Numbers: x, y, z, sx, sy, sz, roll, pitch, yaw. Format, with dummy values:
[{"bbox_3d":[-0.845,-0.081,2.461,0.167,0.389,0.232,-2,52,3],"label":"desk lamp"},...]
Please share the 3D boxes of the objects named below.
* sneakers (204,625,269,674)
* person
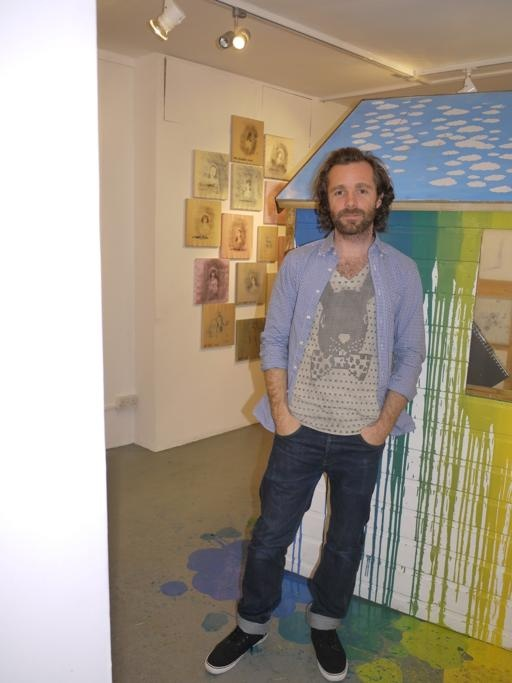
[{"bbox_3d":[-0.057,1.079,1.970,0.083,0.099,0.253,43,31,22],"label":"sneakers"},{"bbox_3d":[0.263,0.242,1.894,0.589,1.808,0.356,3,9,16],"label":"person"}]
